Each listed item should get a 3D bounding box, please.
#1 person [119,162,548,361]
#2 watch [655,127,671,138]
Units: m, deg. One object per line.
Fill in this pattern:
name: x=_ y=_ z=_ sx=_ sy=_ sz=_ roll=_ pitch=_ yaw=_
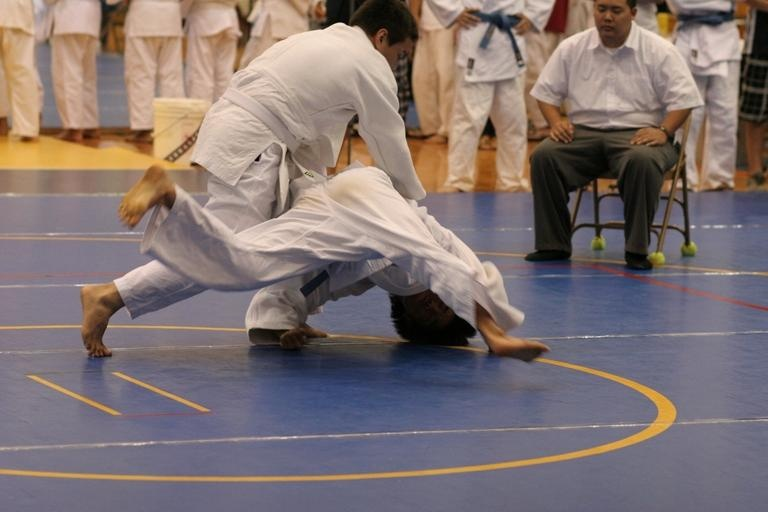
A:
person: x=-0.210 y=-0.028 z=4.414 sx=1.400 sy=0.398 sz=0.900 roll=9 pitch=8 yaw=-17
watch: x=1.665 y=-0.740 z=6.456 sx=0.056 sy=0.062 sz=0.072 roll=-8 pitch=-4 yaw=-32
